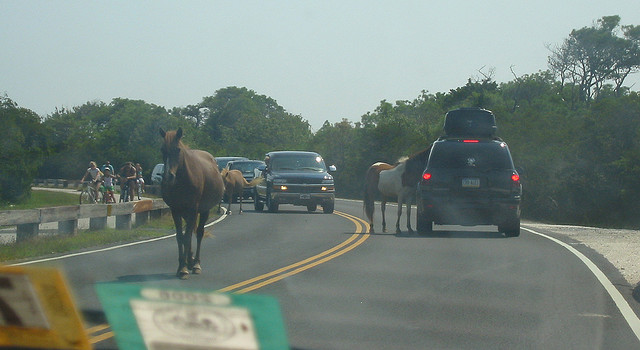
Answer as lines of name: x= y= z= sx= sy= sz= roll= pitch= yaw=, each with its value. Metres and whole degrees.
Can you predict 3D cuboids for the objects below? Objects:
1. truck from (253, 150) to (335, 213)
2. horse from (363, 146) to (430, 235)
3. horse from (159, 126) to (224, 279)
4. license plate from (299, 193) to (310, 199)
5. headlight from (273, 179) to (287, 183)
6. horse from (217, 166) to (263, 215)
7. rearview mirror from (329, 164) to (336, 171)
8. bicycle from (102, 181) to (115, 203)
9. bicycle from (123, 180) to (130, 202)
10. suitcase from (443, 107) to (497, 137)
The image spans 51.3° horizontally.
truck: x=-1.467 y=0.495 z=35.415 sx=3.591 sy=3.430 sz=8.975 roll=0 pitch=-1 yaw=-17
horse: x=3.045 y=0.503 z=27.538 sx=1.310 sy=3.600 sz=3.323 roll=-5 pitch=10 yaw=-32
horse: x=-4.021 y=0.665 z=20.203 sx=1.171 sy=4.243 sz=2.967 roll=1 pitch=9 yaw=6
license plate: x=-0.803 y=1.102 z=33.958 sx=0.518 sy=0.299 sz=0.100 roll=-2 pitch=9 yaw=-20
headlight: x=-2.049 y=0.332 z=33.958 sx=0.602 sy=0.183 sz=0.131 roll=1 pitch=9 yaw=4
horse: x=-4.316 y=0.854 z=36.295 sx=1.309 sy=2.494 sz=3.020 roll=0 pitch=-1 yaw=-22
rearview mirror: x=0.608 y=-0.313 z=33.288 sx=0.289 sy=0.202 sz=0.301 roll=-2 pitch=4 yaw=5
bicycle: x=-11.172 y=0.926 z=35.002 sx=0.599 sy=1.162 sz=0.714 roll=-2 pitch=0 yaw=-24
bicycle: x=-11.515 y=0.925 z=39.458 sx=0.389 sy=1.258 sz=0.475 roll=-3 pitch=10 yaw=-22
suitcase: x=7.374 y=-2.767 z=33.017 sx=2.078 sy=0.979 sz=1.644 roll=0 pitch=-4 yaw=5
